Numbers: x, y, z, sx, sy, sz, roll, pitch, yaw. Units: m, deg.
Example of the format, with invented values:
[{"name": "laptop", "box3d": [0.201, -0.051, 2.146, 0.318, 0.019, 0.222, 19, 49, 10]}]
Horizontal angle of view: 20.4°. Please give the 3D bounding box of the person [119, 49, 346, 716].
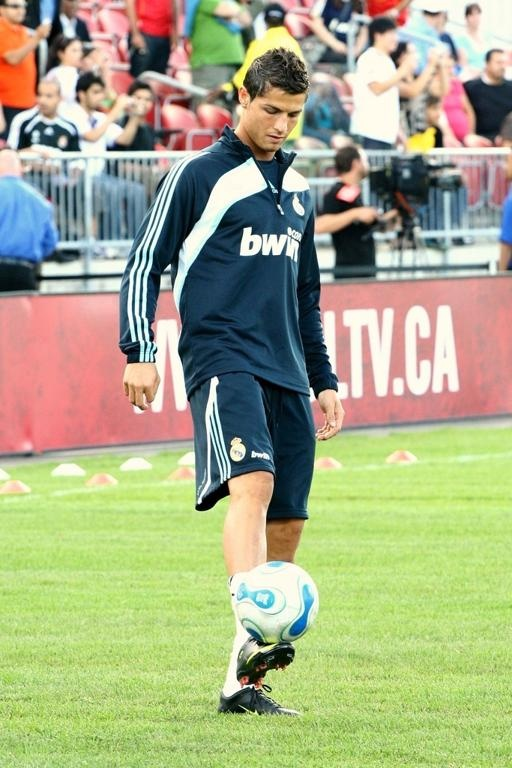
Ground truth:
[{"name": "person", "box3d": [-0.079, -0.217, 4.207, 0.568, 1.510, 0.924, 1, 8, 11]}]
